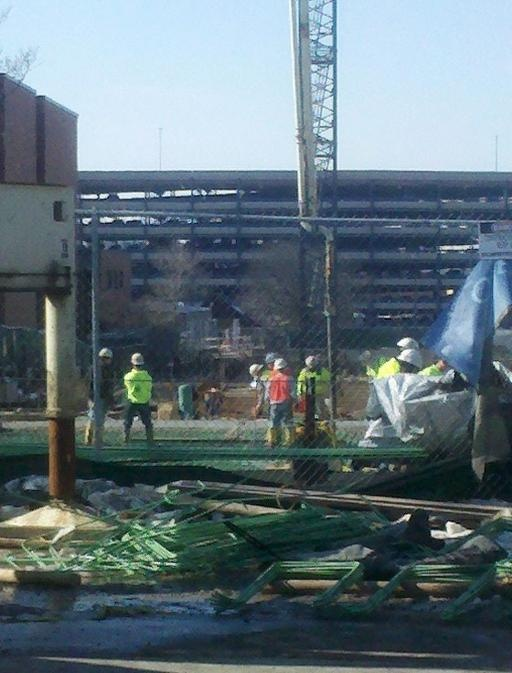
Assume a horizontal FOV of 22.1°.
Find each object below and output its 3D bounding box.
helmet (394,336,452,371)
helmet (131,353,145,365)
[{"bbox_3d":[1.732,0.204,13.382,0.224,0.273,0.654,40,-1,-29],"label":"helmet"},{"bbox_3d":[-1.391,0.260,15.460,0.166,0.122,0.200,0,-1,-5],"label":"helmet"}]
